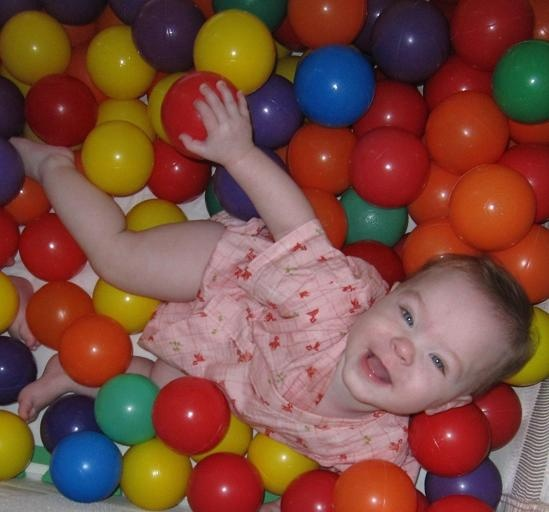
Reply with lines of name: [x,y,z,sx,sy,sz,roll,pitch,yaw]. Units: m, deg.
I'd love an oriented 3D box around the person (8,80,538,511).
person: [0.132,0.040,2.183,1.379,0.643,1.352,8,-67,39]
